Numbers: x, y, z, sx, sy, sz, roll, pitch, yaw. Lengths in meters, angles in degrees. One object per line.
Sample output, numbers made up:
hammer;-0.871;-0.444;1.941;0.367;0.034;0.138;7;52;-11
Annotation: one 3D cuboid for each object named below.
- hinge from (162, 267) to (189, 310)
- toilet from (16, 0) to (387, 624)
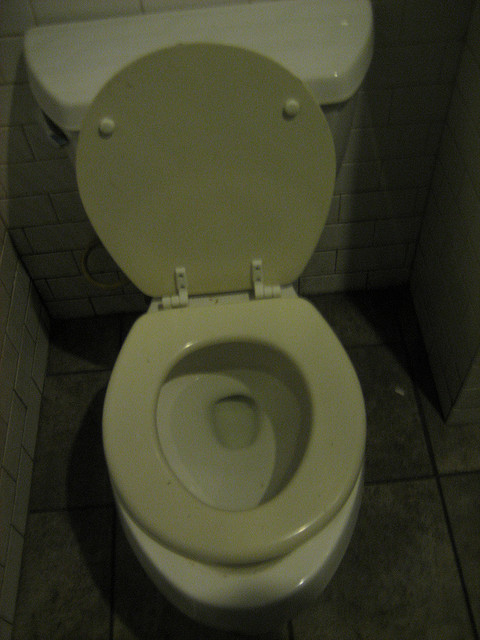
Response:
hinge;-0.112;-0.055;0.961;0.040;0.096;0.032;-11;48;-18
toilet;-0.070;0.003;0.929;0.421;0.794;0.855;-4;65;2
